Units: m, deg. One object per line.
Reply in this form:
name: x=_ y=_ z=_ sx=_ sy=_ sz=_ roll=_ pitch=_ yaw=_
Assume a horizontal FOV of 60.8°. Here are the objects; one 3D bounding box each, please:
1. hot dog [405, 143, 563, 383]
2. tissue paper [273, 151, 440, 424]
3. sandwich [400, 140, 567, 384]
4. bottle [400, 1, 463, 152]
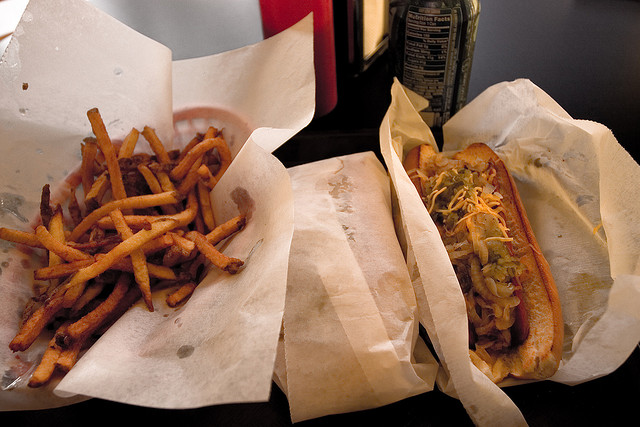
hot dog: x=0.450 y=0.145 z=1.531 sx=0.285 sy=0.209 sz=0.620 roll=-9 pitch=67 yaw=1
tissue paper: x=0.045 y=0.150 z=1.384 sx=0.391 sy=0.152 sz=0.648 roll=-10 pitch=62 yaw=-3
sandwich: x=0.427 y=0.139 z=1.555 sx=0.323 sy=0.218 sz=0.654 roll=-8 pitch=66 yaw=-4
bottle: x=0.320 y=-0.426 z=1.601 sx=0.169 sy=0.329 sz=0.202 roll=5 pitch=62 yaw=6
